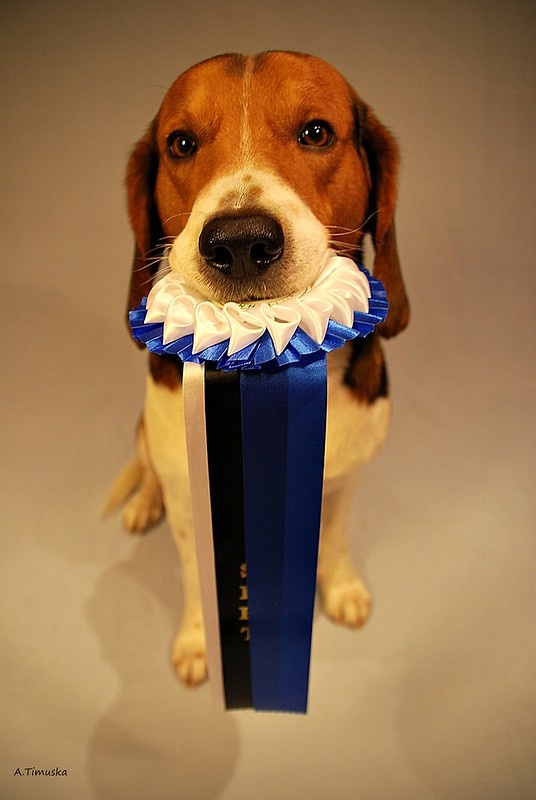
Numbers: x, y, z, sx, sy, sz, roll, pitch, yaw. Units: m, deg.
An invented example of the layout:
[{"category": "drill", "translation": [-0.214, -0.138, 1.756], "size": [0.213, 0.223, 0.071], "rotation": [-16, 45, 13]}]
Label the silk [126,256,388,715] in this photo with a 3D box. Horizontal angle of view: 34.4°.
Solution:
[{"category": "silk", "translation": [-0.018, 0.221, 1.849], "size": [0.526, 1.036, 0.240], "rotation": [-2, 17, -8]}]

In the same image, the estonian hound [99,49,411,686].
[{"category": "estonian hound", "translation": [-0.072, -0.156, 2.630], "size": [0.841, 1.524, 1.697], "rotation": [-3, 18, -3]}]
